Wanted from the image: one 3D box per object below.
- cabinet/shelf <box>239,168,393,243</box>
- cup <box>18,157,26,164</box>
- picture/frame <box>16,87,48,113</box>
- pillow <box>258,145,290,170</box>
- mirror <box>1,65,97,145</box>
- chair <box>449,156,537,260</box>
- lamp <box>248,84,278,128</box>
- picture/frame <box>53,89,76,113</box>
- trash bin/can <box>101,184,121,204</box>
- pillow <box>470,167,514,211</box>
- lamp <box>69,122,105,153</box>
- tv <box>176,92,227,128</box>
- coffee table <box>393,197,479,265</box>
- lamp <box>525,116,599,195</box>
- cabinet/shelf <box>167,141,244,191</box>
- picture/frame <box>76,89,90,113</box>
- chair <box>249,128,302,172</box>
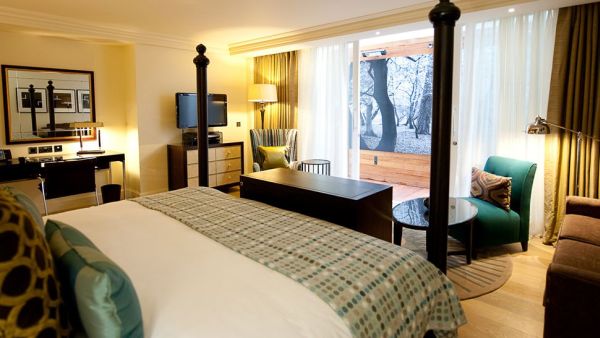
[{"bbox_3d":[0.126,0.527,4.343,1.723,0.772,0.770,10,16,43],"label":"cabinet/shelf"},{"bbox_3d":[-4.102,-0.117,5.541,0.095,0.098,0.090,4,14,-1],"label":"cup"},{"bbox_3d":[-4.203,-1.071,5.848,0.016,0.422,0.422,9,11,42],"label":"picture/frame"},{"bbox_3d":[-0.467,-0.204,6.843,0.524,0.390,0.336,-3,12,-6],"label":"pillow"},{"bbox_3d":[-4.044,-1.015,5.956,1.372,1.186,0.061,-8,13,-39],"label":"mirror"},{"bbox_3d":[2.502,0.477,5.105,1.196,1.103,0.952,-4,13,-4],"label":"chair"},{"bbox_3d":[-0.692,-1.115,7.221,0.589,0.808,0.562,4,-4,13],"label":"lamp"},{"bbox_3d":[-3.838,-1.103,6.091,0.015,0.402,0.434,-1,2,41],"label":"picture/frame"},{"bbox_3d":[-2.954,0.396,5.878,0.274,0.320,0.310,-6,14,-44],"label":"trash bin/can"},{"bbox_3d":[2.583,0.256,5.101,0.226,0.419,0.618,-12,17,-21],"label":"pillow"},{"bbox_3d":[-3.474,-0.505,6.261,0.572,0.504,0.210,-2,9,-11],"label":"lamp"},{"bbox_3d":[-1.699,-0.983,6.324,1.050,0.617,0.120,-8,12,-42],"label":"tv"},{"bbox_3d":[1.629,0.575,4.560,0.974,0.557,0.915,-6,13,-16],"label":"coffee table"},{"bbox_3d":[3.414,-0.155,4.885,0.933,1.056,0.453,-1,12,7],"label":"lamp"},{"bbox_3d":[-1.777,-0.025,7.188,0.556,0.848,1.429,10,12,34],"label":"cabinet/shelf"},{"bbox_3d":[-3.594,-1.123,6.271,0.317,0.402,0.016,4,7,14],"label":"picture/frame"},{"bbox_3d":[-0.494,-0.423,7.024,0.878,0.715,0.486,1,12,-11],"label":"chair"}]
